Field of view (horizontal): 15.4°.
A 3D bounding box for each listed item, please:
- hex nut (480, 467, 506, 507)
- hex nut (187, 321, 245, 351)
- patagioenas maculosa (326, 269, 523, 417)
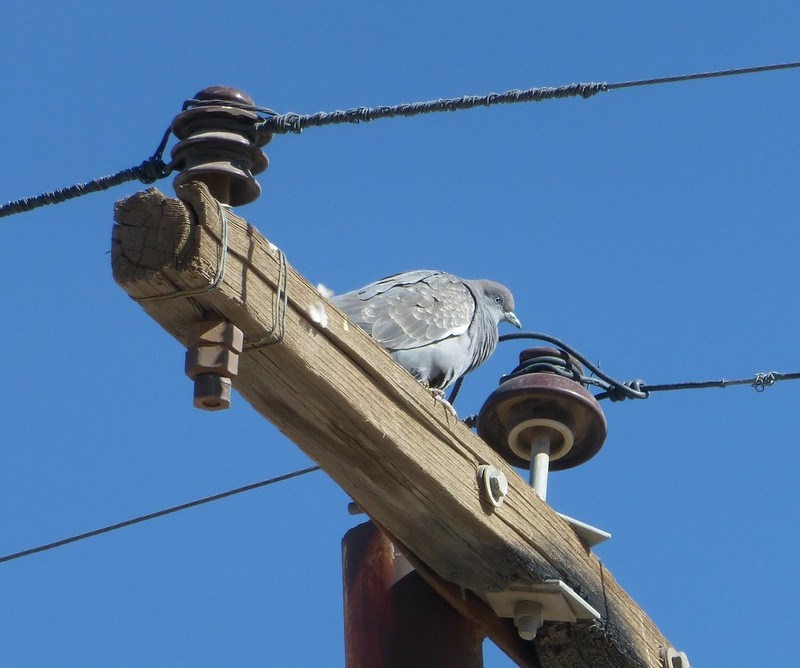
[{"bbox_3d":[0.380,0.602,12.027,0.044,0.141,0.146,-9,-76,19],"label":"hex nut"},{"bbox_3d":[-0.711,0.006,11.234,0.129,0.129,0.060,7,-103,-19],"label":"hex nut"},{"bbox_3d":[0.127,-0.026,13.179,0.913,0.837,0.330,35,-68,-27],"label":"patagioenas maculosa"}]
